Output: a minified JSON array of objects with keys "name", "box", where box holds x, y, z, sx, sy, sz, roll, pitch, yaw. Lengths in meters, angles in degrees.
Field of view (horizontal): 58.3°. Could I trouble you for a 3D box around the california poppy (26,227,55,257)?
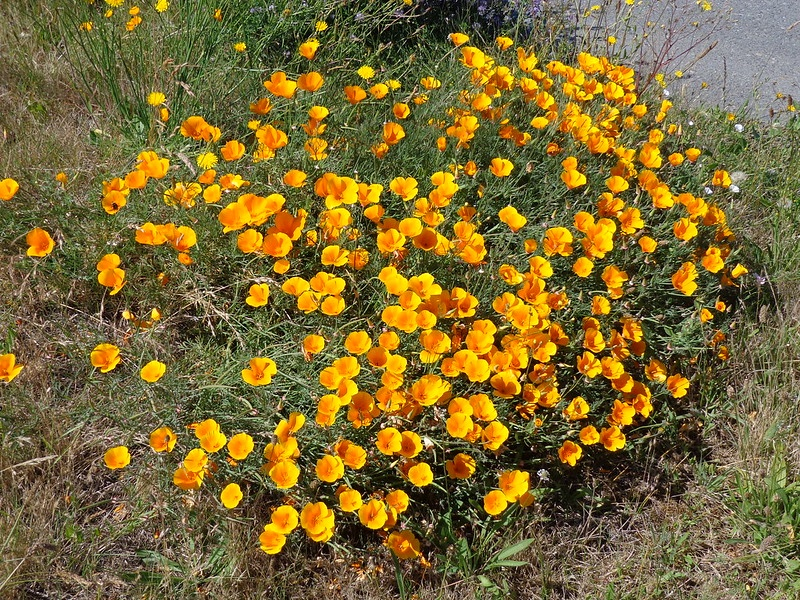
[{"name":"california poppy","box":[-1.756,-0.285,3.516,0.111,0.111,0.178,-11,50,-22]}]
